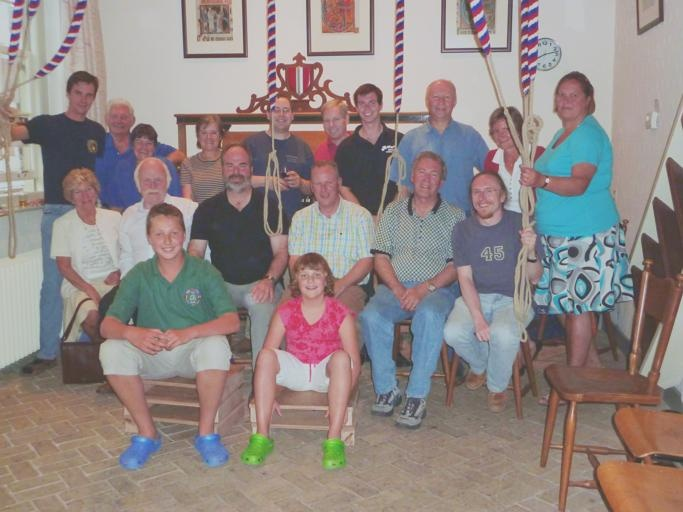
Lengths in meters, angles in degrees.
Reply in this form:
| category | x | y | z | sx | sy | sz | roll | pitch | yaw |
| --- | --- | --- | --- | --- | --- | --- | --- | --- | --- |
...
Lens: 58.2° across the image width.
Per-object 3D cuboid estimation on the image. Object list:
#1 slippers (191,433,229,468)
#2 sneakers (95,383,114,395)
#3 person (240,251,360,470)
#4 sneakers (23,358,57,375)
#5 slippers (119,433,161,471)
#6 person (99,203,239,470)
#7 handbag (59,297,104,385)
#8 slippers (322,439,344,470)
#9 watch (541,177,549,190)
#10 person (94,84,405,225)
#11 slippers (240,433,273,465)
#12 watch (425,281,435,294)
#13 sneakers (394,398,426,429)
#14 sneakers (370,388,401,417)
| category | x | y | z | sx | sy | sz | roll | pitch | yaw |
| --- | --- | --- | --- | --- | --- | --- | --- | --- | --- |
| slippers | -0.700 | 1.047 | 3.331 | 0.110 | 0.087 | 0.208 | -7 | 8 | -23 |
| sneakers | -1.599 | 0.898 | 4.147 | 0.107 | 0.042 | 0.129 | 4 | 10 | 0 |
| person | -0.208 | 0.544 | 3.431 | 0.599 | 1.086 | 0.560 | 2 | 12 | 4 |
| sneakers | -2.240 | 0.804 | 4.549 | 0.248 | 0.103 | 0.089 | 2 | 21 | -32 |
| slippers | -1.109 | 1.062 | 3.388 | 0.106 | 0.089 | 0.210 | 24 | 18 | 6 |
| person | -0.979 | 0.407 | 3.476 | 0.762 | 1.360 | 0.665 | 1 | 12 | 0 |
| handbag | -1.821 | 0.593 | 4.319 | 0.307 | 0.561 | 0.326 | -2 | 12 | -14 |
| slippers | -0.044 | 1.054 | 3.279 | 0.091 | 0.071 | 0.163 | -1 | 11 | -2 |
| watch | 1.174 | -0.418 | 3.522 | 0.043 | 0.061 | 0.061 | 7 | -20 | 24 |
| person | -0.668 | -0.806 | 4.921 | 1.623 | 0.892 | 0.390 | -1 | 5 | -3 |
| slippers | -0.454 | 1.039 | 3.339 | 0.181 | 0.144 | 0.124 | -2 | 12 | -16 |
| watch | 0.559 | 0.193 | 3.927 | 0.043 | 0.062 | 0.060 | -3 | -30 | -6 |
| sneakers | 0.396 | 0.934 | 3.619 | 0.098 | 0.111 | 0.250 | 3 | -3 | 15 |
| sneakers | 0.265 | 0.912 | 3.816 | 0.097 | 0.104 | 0.245 | 1 | 0 | 19 |
